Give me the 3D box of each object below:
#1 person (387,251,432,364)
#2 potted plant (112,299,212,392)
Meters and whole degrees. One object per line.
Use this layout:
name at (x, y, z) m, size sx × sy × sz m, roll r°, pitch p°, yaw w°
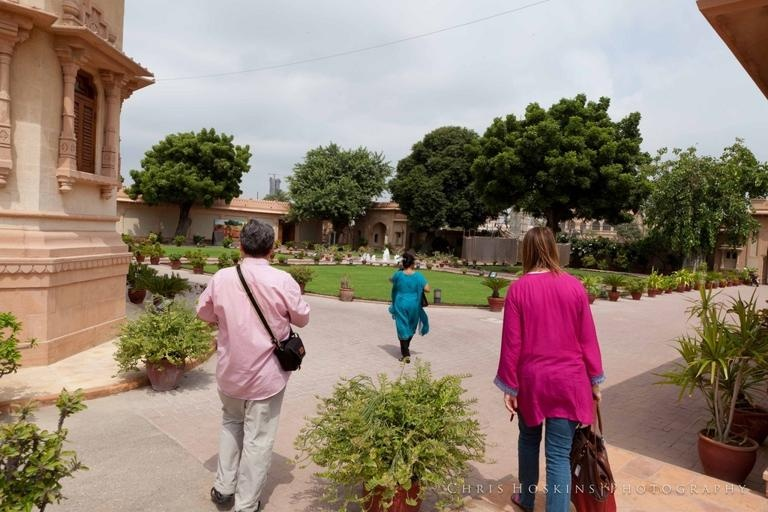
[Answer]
person at (0.497, 0.919, 8.683) m, size 0.718 × 2.035 × 0.711 m, roll 0°, pitch 2°, yaw -19°
potted plant at (-3.356, 1.296, 7.279) m, size 1.462 × 1.226 × 1.421 m, roll -2°, pitch -1°, yaw 20°
